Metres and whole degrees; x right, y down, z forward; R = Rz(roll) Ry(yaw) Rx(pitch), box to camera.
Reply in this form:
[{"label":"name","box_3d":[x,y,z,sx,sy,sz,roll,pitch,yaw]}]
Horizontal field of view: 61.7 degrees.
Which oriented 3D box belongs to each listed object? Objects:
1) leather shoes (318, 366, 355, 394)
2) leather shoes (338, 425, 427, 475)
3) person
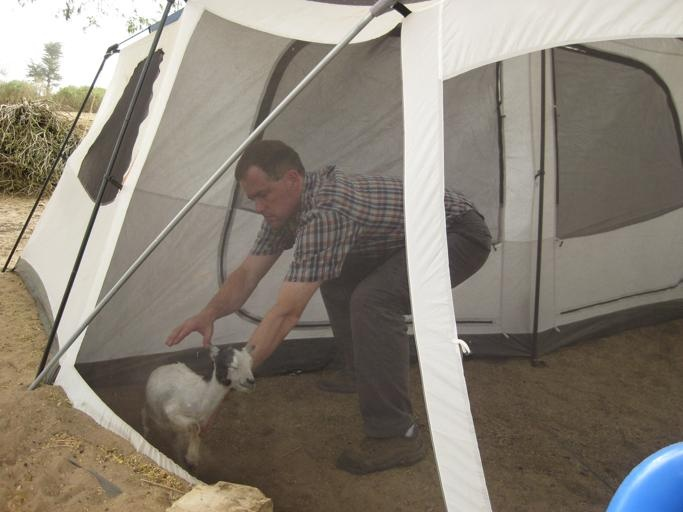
[{"label":"leather shoes","box_3d":[-0.015,0.590,2.675,0.115,0.130,0.040,9,-17,17]},{"label":"leather shoes","box_3d":[0.183,0.902,2.610,0.434,0.179,0.219,-18,28,18]},{"label":"person","box_3d":[-0.033,0.139,3.191,1.469,1.494,1.059,-6,5,-5]}]
